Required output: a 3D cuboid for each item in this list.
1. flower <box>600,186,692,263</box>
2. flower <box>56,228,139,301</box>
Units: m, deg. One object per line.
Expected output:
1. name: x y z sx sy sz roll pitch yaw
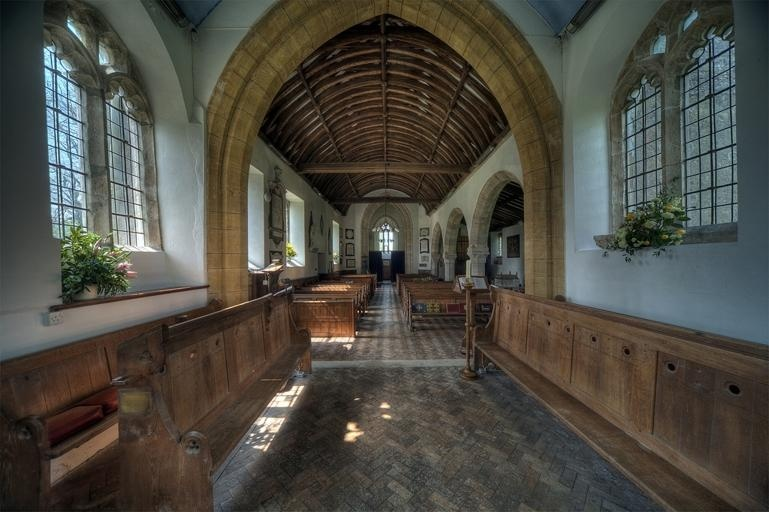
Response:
1. flower: 3.057 -0.359 4.641 0.819 0.814 0.580 -1 0 38
2. flower: -3.156 0.139 4.480 0.499 0.490 0.379 -9 -27 37
